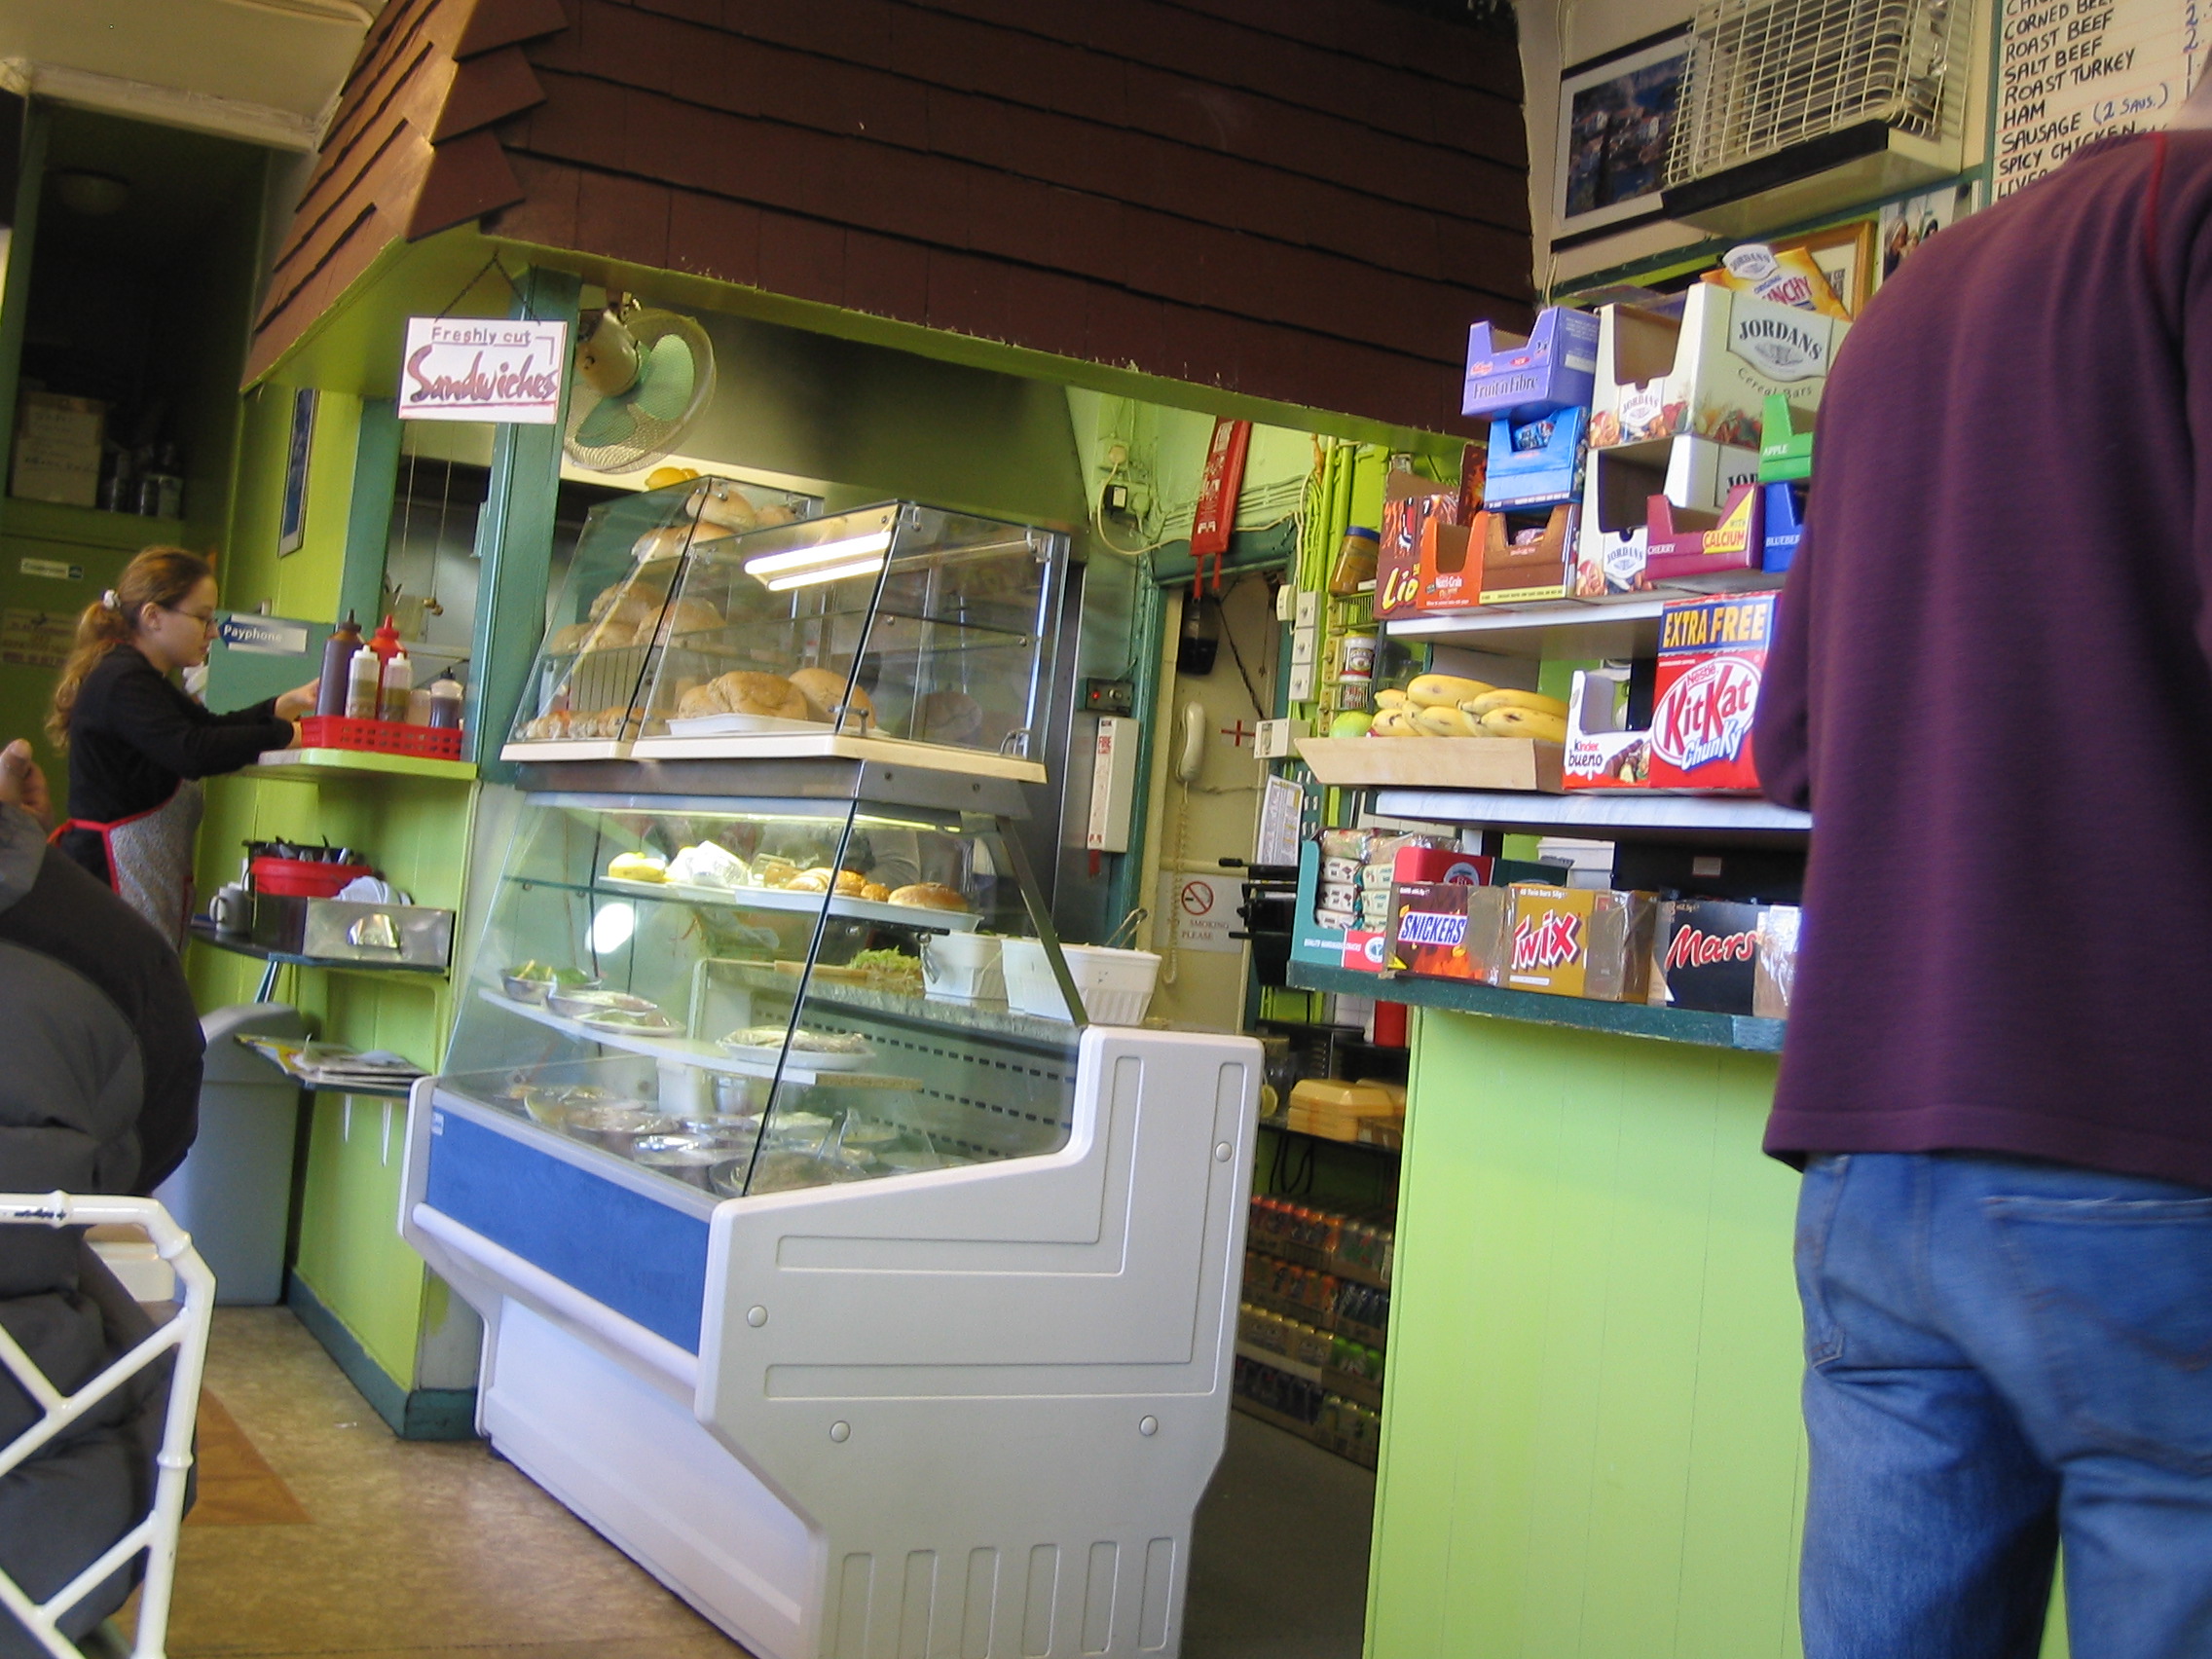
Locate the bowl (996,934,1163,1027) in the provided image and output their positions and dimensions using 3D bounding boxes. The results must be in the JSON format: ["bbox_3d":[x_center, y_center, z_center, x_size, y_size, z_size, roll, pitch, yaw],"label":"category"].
[{"bbox_3d":[-0.064,0.292,3.406,0.185,0.124,0.270,1,-3,-21],"label":"bowl"}]

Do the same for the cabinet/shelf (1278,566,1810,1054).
[{"bbox_3d":[0.563,-0.065,2.957,0.725,0.771,1.114,12,-3,-29],"label":"cabinet/shelf"}]

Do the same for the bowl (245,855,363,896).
[{"bbox_3d":[-2.453,0.127,5.070,0.307,0.096,0.260,7,-4,-26],"label":"bowl"}]

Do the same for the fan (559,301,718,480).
[{"bbox_3d":[-1.473,-1.384,5.206,0.393,0.347,0.918,7,-4,-19],"label":"fan"}]

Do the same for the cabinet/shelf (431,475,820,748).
[{"bbox_3d":[-1.236,-0.729,4.460,0.865,0.801,0.492,-8,37,-44],"label":"cabinet/shelf"}]

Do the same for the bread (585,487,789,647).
[{"bbox_3d":[-0.994,-0.631,3.989,0.387,0.271,0.212,-17,-11,9],"label":"bread"}]

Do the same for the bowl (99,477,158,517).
[{"bbox_3d":[-5.348,-1.878,9.103,0.232,0.234,0.385,9,-5,-40],"label":"bowl"}]

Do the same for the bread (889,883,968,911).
[{"bbox_3d":[-0.350,0.121,3.249,0.142,0.055,0.039,6,-4,1],"label":"bread"}]

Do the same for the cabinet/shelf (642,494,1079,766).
[{"bbox_3d":[-0.426,-0.388,3.627,1.010,0.533,0.502,7,3,38],"label":"cabinet/shelf"}]

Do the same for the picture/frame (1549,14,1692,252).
[{"bbox_3d":[1.658,-2.227,5.290,0.029,0.735,0.745,8,31,-19],"label":"picture/frame"}]
